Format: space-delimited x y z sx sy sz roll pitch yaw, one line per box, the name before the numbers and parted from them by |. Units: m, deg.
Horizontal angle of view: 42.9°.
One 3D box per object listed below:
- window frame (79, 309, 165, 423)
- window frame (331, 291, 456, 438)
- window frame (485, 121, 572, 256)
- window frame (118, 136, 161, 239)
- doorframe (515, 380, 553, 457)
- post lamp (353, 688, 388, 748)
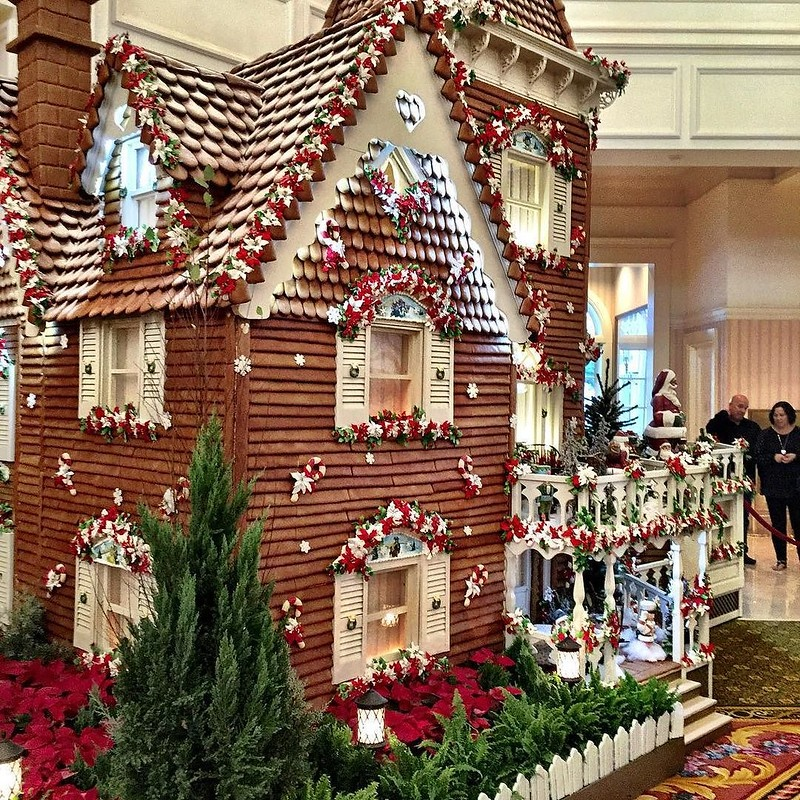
window frame | -2.441 -0.291 9.058 0.730 0.953 0.087 0 -2 33
window frame | -0.103 -0.318 9.200 1.023 1.275 0.355 0 2 -41
window frame | 1.452 -2.438 11.731 0.186 1.862 1.467 -1 0 43
window frame | -2.331 -1.921 9.071 0.182 0.901 0.699 2 -4 -29
doorframe | 1.571 0.235 12.030 0.616 0.971 0.057 1 -1 -39
post lamp | -0.202 2.201 7.082 0.255 0.564 0.309 0 -4 -6
